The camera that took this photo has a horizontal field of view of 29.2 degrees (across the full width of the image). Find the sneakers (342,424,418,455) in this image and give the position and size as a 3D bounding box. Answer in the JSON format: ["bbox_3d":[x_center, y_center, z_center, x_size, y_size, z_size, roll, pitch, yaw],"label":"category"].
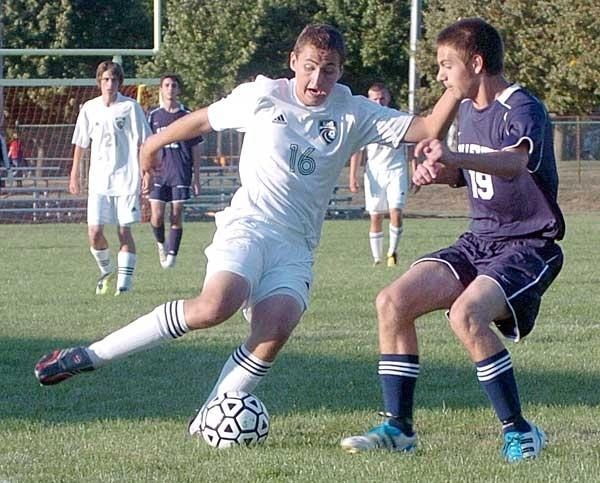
[{"bbox_3d":[0.565,1.421,8.270,0.520,0.257,0.200,3,-10,-9],"label":"sneakers"}]

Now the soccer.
[{"bbox_3d":[-0.457,1.299,8.303,0.438,0.416,0.377,-7,2,-6],"label":"soccer"}]

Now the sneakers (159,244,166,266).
[{"bbox_3d":[-1.804,0.195,15.216,0.090,0.295,0.115,-3,15,1],"label":"sneakers"}]

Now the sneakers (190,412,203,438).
[{"bbox_3d":[-0.750,1.344,8.389,0.054,0.162,0.086,5,2,-22],"label":"sneakers"}]

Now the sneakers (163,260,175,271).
[{"bbox_3d":[-1.688,0.315,14.987,0.090,0.137,0.048,9,-17,17],"label":"sneakers"}]

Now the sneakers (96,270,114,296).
[{"bbox_3d":[-2.175,0.465,13.045,0.106,0.343,0.142,8,-21,-2],"label":"sneakers"}]

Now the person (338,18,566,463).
[{"bbox_3d":[1.211,-0.058,8.372,1.362,3.109,0.932,-1,4,13],"label":"person"}]

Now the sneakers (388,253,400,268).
[{"bbox_3d":[1.204,0.261,15.002,0.141,0.238,0.151,1,-6,-3],"label":"sneakers"}]

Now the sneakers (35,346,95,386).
[{"bbox_3d":[-1.735,0.925,8.616,0.403,0.249,0.153,-16,-7,4],"label":"sneakers"}]
